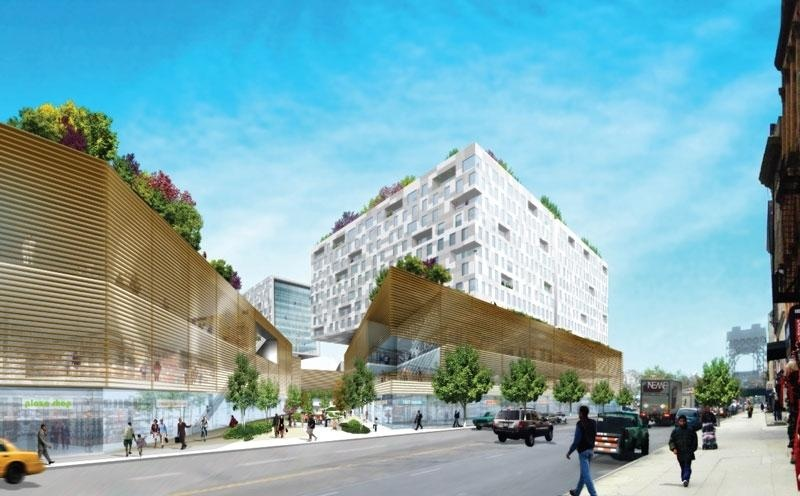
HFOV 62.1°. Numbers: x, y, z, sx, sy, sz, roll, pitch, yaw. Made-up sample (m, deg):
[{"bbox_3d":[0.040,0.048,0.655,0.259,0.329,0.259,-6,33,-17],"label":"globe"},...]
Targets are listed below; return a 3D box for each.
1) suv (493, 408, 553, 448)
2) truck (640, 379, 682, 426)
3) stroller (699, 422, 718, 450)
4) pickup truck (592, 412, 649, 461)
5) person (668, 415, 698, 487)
[{"bbox_3d":[9.164,12.948,48.617,2.838,2.528,5.606,-6,-12,38],"label":"suv"},{"bbox_3d":[25.945,15.216,65.918,3.019,4.199,8.898,-3,-10,25],"label":"truck"},{"bbox_3d":[19.460,11.866,41.722,0.728,1.176,2.152,-3,-16,16],"label":"stroller"},{"bbox_3d":[12.877,10.912,38.613,2.330,1.849,4.172,-4,-7,35],"label":"pickup truck"},{"bbox_3d":[12.865,8.834,29.794,1.331,3.317,1.163,-4,0,36],"label":"person"}]
